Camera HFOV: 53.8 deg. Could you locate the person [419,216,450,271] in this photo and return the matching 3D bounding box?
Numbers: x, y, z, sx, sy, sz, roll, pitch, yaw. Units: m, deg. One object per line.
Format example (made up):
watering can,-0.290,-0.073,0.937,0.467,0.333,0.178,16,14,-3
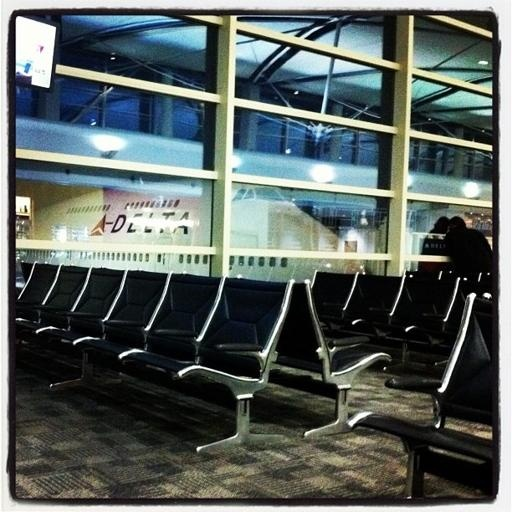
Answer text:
person,2.594,-0.145,7.296,0.206,0.650,0.769,7,-3,-5
